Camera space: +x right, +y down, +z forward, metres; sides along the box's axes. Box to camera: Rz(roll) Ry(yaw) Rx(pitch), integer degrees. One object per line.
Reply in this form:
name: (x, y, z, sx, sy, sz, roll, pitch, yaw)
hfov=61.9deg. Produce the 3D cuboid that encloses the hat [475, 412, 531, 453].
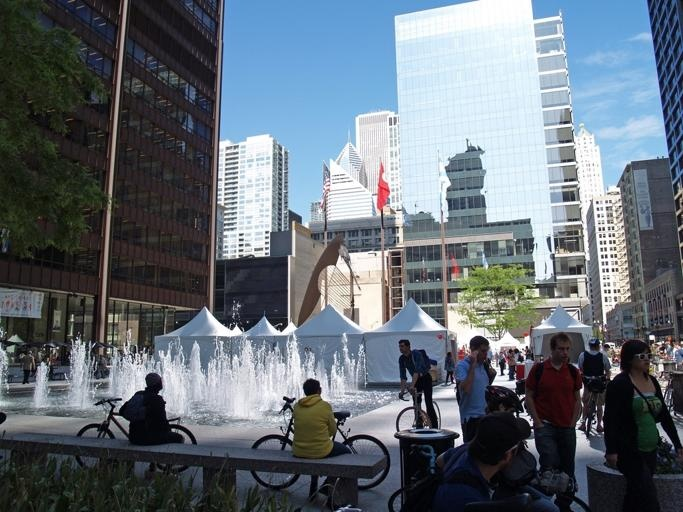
hat: (1.378, 1.546, 5.016, 0.453, 0.321, 0.136, 0, -9, -17)

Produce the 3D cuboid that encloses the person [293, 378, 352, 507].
person: (-0.352, 2.644, 8.310, 0.814, 1.626, 0.904, -9, -17, 42)

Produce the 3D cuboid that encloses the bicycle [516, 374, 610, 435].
bicycle: (3.052, 1.843, 7.843, 0.979, 1.285, 0.634, 1, -13, 4)

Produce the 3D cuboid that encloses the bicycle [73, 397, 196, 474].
bicycle: (-3.923, 3.357, 10.646, 2.195, 1.337, 0.923, 11, -30, -42)

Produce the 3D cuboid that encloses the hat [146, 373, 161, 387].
hat: (-3.023, 1.983, 9.075, 0.196, 0.233, 0.243, 1, 0, 9)

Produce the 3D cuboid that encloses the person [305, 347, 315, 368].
person: (-1.551, 4.854, 27.571, 0.454, 0.942, 0.308, -3, -9, 4)

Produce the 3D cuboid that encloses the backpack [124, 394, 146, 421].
backpack: (-3.236, 2.330, 8.848, 0.328, 0.440, 0.401, 1, -10, -22)

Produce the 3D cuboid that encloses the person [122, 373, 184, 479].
person: (-2.954, 2.640, 9.117, 0.636, 1.514, 1.025, -4, -6, 42)

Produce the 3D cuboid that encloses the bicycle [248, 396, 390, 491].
bicycle: (-0.358, 3.177, 9.543, 2.381, 1.673, 1.281, 2, -21, 1)

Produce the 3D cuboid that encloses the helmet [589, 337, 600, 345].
helmet: (5.910, 2.003, 13.355, 0.263, 0.128, 0.397, -6, -11, 21)
